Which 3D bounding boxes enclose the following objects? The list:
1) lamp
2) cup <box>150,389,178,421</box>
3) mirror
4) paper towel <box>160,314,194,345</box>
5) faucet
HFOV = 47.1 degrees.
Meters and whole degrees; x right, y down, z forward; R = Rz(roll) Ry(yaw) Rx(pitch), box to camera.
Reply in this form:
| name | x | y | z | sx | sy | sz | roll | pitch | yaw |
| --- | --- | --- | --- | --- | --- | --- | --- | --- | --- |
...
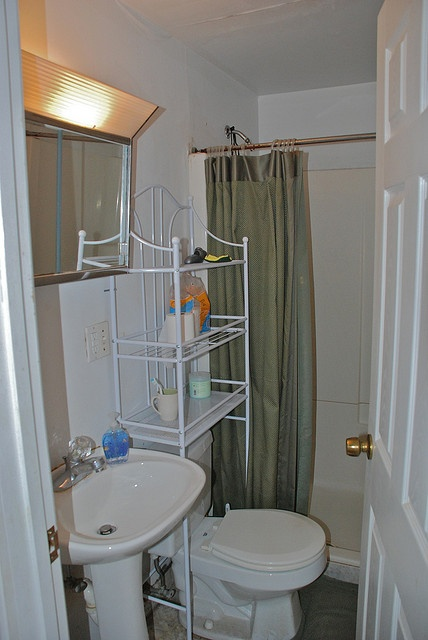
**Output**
| name | x | y | z | sx | sy | sz | roll | pitch | yaw |
| --- | --- | --- | --- | --- | --- | --- | --- | --- | --- |
| lamp | -0.290 | -0.518 | 1.195 | 0.045 | 0.119 | 0.485 | 0 | 9 | 24 |
| cup | -0.154 | 0.285 | 1.639 | 0.063 | 0.111 | 0.099 | 1 | -3 | -41 |
| mirror | -0.320 | -0.289 | 1.167 | 0.014 | 0.424 | 0.362 | 9 | 18 | 18 |
| paper towel | -0.113 | 0.023 | 1.537 | 0.069 | 0.127 | 0.109 | 3 | 4 | 17 |
| faucet | -0.337 | 0.367 | 1.235 | 0.059 | 0.072 | 0.139 | 0 | -6 | 11 |
